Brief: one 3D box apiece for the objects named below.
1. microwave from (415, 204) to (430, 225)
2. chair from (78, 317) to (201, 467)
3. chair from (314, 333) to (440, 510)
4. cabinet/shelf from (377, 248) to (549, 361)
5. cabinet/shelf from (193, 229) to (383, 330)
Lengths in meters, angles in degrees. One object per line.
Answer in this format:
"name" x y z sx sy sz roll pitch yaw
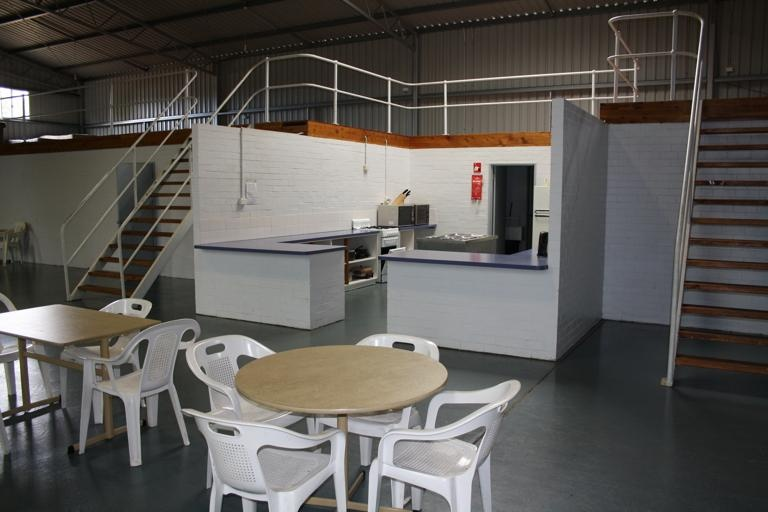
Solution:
"microwave" 0.876 -0.923 12.531 0.437 0.551 0.613 1 3 13
"chair" -2.176 1.140 4.713 1.050 1.161 0.691 -2 14 -10
"chair" -0.190 1.245 4.608 1.255 1.339 1.094 -2 -4 32
"cabinet/shelf" 1.186 0.603 7.027 1.973 0.943 1.471 2 7 24
"cabinet/shelf" -1.679 0.379 8.496 1.611 0.779 2.297 4 5 32
